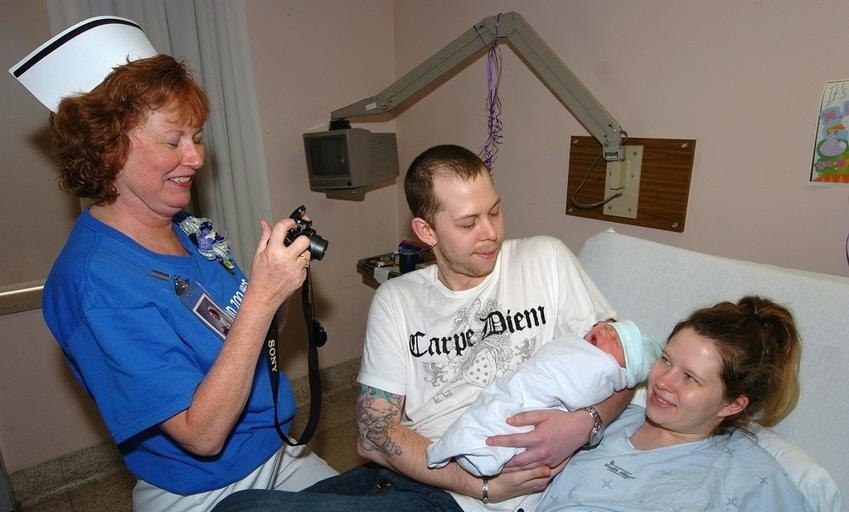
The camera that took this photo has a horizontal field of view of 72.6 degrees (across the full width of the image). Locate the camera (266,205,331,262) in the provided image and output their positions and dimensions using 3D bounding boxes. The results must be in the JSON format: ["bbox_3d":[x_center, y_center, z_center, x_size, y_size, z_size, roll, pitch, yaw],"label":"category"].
[{"bbox_3d":[-0.489,-0.072,2.273,0.224,0.207,0.226,10,-5,-5],"label":"camera"}]

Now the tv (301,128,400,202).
[{"bbox_3d":[-0.460,-0.603,3.623,0.563,0.325,0.555,-2,13,14],"label":"tv"}]

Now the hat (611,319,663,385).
[{"bbox_3d":[0.873,0.402,2.386,0.191,0.219,0.262,-2,-5,6],"label":"hat"}]

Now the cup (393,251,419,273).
[{"bbox_3d":[-0.114,0.028,3.341,0.111,0.121,0.121,1,14,0],"label":"cup"}]

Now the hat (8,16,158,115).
[{"bbox_3d":[-1.306,-0.753,2.274,0.484,0.202,0.392,-27,-12,-25],"label":"hat"}]

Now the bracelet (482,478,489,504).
[{"bbox_3d":[0.242,0.937,2.302,0.025,0.070,0.062,4,-3,-2],"label":"bracelet"}]
